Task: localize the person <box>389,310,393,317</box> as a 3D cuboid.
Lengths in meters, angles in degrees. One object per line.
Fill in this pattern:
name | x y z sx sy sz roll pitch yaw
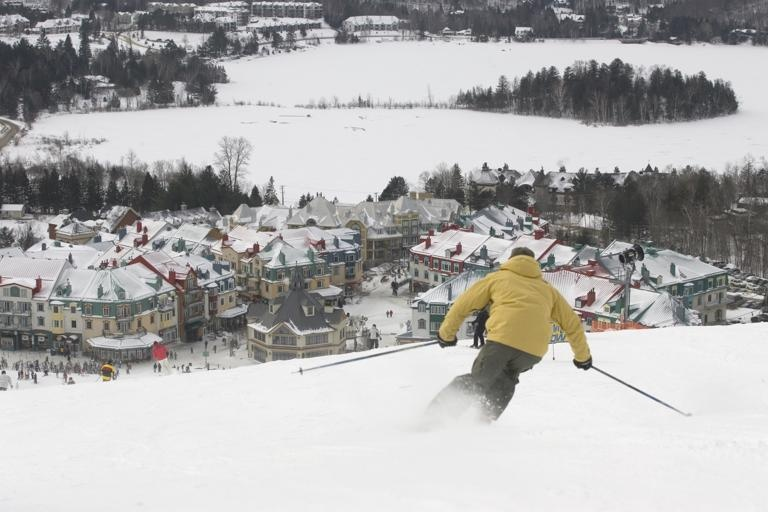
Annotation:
person | 0.731 6.288 187.622 0.322 0.534 0.975 -1 15 2
